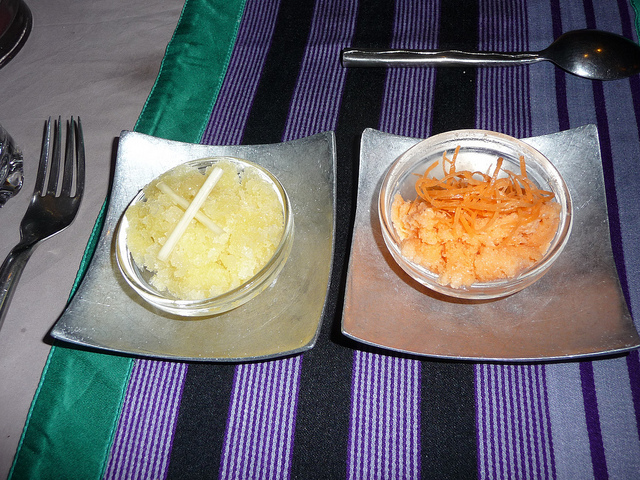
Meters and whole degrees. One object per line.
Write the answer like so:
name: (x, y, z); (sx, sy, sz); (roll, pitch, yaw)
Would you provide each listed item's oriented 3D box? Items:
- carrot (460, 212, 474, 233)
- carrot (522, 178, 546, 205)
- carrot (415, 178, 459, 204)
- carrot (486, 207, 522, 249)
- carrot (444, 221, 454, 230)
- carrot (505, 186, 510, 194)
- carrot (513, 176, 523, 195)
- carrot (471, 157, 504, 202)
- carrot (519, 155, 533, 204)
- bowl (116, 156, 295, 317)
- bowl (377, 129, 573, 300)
carrot: (0.398, -0.044, 1.413); (0.031, 0.007, 0.049); (5, 66, -19)
carrot: (0.590, -0.131, 1.450); (0.013, 0.013, 0.095); (-39, 97, 3)
carrot: (0.323, -0.141, 1.462); (0.096, 0.017, 0.072); (11, 76, 13)
carrot: (0.499, -0.024, 1.398); (0.036, 0.010, 0.148); (41, 81, 9)
carrot: (0.346, -0.038, 1.407); (0.037, 0.012, 0.009); (-32, 78, -6)
carrot: (0.528, -0.140, 1.482); (0.013, 0.016, 0.015); (-5, 56, 6)
carrot: (0.549, -0.148, 1.456); (0.015, 0.008, 0.057); (-22, 71, 31)
carrot: (0.473, -0.165, 1.477); (0.029, 0.017, 0.170); (42, 64, -9)
carrot: (0.568, -0.169, 1.466); (0.020, 0.018, 0.134); (2, 73, -28)
bowl: (-0.310, 0.002, 1.455); (0.497, 0.133, 0.403); (-28, 79, -5)
bowl: (0.410, -0.082, 1.441); (0.498, 0.165, 0.492); (0, 78, 1)
